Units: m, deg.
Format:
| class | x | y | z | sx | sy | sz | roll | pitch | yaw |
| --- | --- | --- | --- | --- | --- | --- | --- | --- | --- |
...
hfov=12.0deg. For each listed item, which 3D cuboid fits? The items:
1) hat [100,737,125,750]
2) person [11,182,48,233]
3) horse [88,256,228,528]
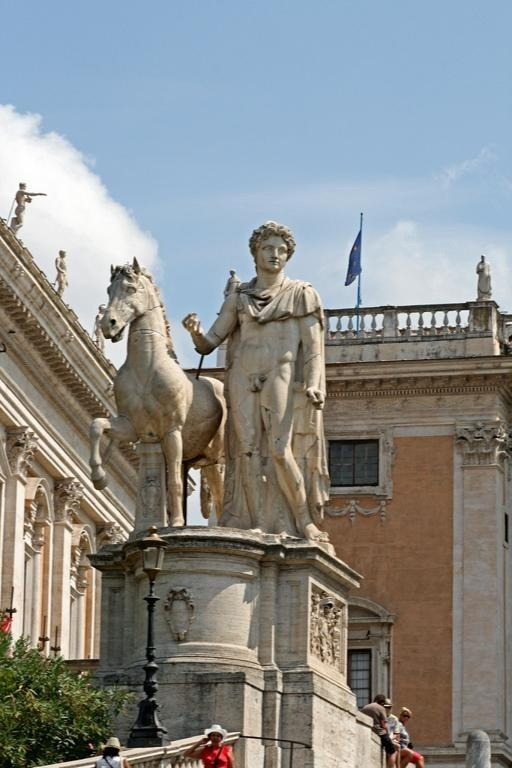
| class | x | y | z | sx | sy | sz | roll | pitch | yaw |
| --- | --- | --- | --- | --- | --- | --- | --- | --- | --- |
| hat | -1.440 | 3.701 | 25.103 | 0.193 | 0.099 | 0.233 | 2 | -8 | 16 |
| person | -5.067 | -3.952 | 55.147 | 0.659 | 1.463 | 0.408 | -5 | -22 | 24 |
| horse | -1.051 | 0.297 | 31.514 | 0.916 | 3.447 | 3.814 | 0 | -10 | 23 |
